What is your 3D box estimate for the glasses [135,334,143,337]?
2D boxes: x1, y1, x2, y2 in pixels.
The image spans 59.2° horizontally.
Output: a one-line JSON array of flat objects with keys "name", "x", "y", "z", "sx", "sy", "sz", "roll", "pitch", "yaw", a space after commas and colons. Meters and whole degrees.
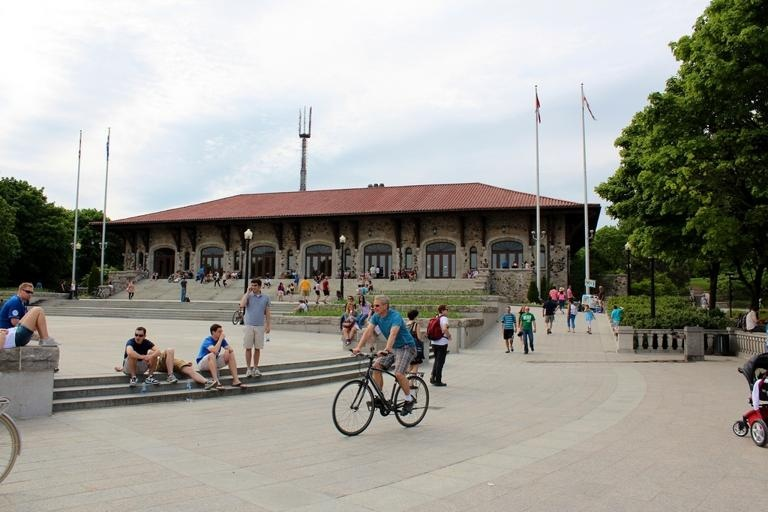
[{"name": "glasses", "x": -6.375, "y": 2.062, "z": 17.686, "sx": 0.226, "sy": 0.072, "sz": 0.085, "roll": 0, "pitch": 3, "yaw": 16}]

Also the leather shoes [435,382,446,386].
[{"name": "leather shoes", "x": 1.676, "y": 3.813, "z": 20.192, "sx": 0.346, "sy": 0.149, "sz": 0.115, "roll": 0, "pitch": -2, "yaw": -11}]

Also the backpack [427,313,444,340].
[{"name": "backpack", "x": 1.474, "y": 2.188, "z": 20.201, "sx": 0.510, "sy": 0.705, "sz": 0.386, "roll": -1, "pitch": 4, "yaw": -16}]

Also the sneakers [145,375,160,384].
[{"name": "sneakers", "x": -6.075, "y": 3.251, "z": 17.730, "sx": 0.459, "sy": 0.209, "sz": 0.156, "roll": -5, "pitch": -5, "yaw": 41}]

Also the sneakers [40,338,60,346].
[{"name": "sneakers", "x": -7.833, "y": 2.025, "z": 15.895, "sx": 0.367, "sy": 0.158, "sz": 0.170, "roll": -2, "pitch": -5, "yaw": 16}]

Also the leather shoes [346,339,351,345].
[{"name": "leather shoes", "x": -1.294, "y": 3.099, "z": 24.428, "sx": 0.087, "sy": 0.260, "sz": 0.110, "roll": -5, "pitch": -8, "yaw": -1}]

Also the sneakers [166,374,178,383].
[{"name": "sneakers", "x": -5.577, "y": 3.257, "z": 17.880, "sx": 0.322, "sy": 0.148, "sz": 0.134, "roll": -6, "pitch": -6, "yaw": 43}]

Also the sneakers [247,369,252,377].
[{"name": "sneakers", "x": -3.774, "y": 3.268, "z": 18.923, "sx": 0.153, "sy": 0.220, "sz": 0.149, "roll": -1, "pitch": 3, "yaw": -6}]

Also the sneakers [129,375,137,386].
[{"name": "sneakers", "x": -6.497, "y": 3.228, "z": 17.578, "sx": 0.187, "sy": 0.245, "sz": 0.373, "roll": -2, "pitch": 3, "yaw": -23}]

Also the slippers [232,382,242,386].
[{"name": "slippers", "x": -4.008, "y": 3.487, "z": 18.424, "sx": 0.284, "sy": 0.076, "sz": 0.112, "roll": -4, "pitch": -4, "yaw": 24}]

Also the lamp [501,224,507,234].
[{"name": "lamp", "x": 8.556, "y": -1.958, "z": 48.772, "sx": 0.383, "sy": 0.648, "sz": 0.105, "roll": 1, "pitch": 4, "yaw": 28}]

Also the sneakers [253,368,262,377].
[{"name": "sneakers", "x": -3.561, "y": 3.265, "z": 18.982, "sx": 0.177, "sy": 0.202, "sz": 0.526, "roll": 1, "pitch": -13, "yaw": -12}]

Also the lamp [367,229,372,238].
[{"name": "lamp", "x": -1.123, "y": -1.717, "z": 52.120, "sx": 0.465, "sy": 0.637, "sz": 0.231, "roll": 1, "pitch": 4, "yaw": 25}]
